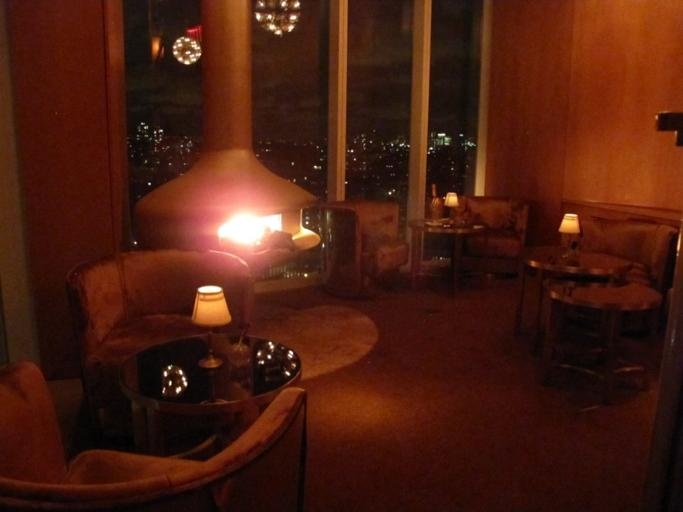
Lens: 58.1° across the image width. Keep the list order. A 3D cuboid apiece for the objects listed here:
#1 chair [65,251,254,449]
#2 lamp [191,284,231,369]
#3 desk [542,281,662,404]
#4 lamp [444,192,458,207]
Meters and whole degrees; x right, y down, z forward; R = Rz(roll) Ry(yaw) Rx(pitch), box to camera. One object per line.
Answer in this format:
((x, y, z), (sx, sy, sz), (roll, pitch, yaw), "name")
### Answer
((-1.046, 0.489, 3.698), (0.976, 0.952, 0.875), (-2, 8, -19), "chair")
((-0.667, 0.360, 3.131), (0.198, 0.374, 0.183), (-6, 12, -42), "lamp")
((1.681, 0.453, 4.057), (0.720, 0.712, 0.785), (-3, 7, -30), "desk")
((1.075, -0.556, 6.091), (0.132, 0.131, 0.137), (7, 15, 29), "lamp")
